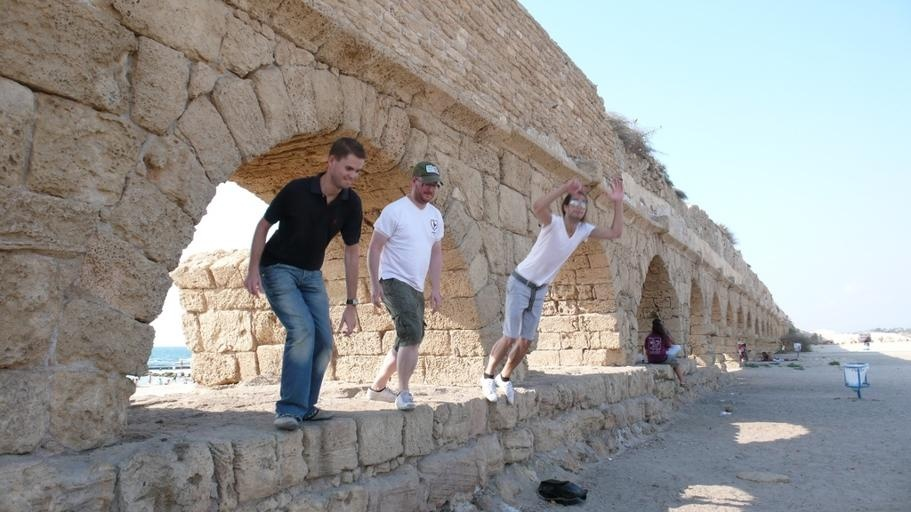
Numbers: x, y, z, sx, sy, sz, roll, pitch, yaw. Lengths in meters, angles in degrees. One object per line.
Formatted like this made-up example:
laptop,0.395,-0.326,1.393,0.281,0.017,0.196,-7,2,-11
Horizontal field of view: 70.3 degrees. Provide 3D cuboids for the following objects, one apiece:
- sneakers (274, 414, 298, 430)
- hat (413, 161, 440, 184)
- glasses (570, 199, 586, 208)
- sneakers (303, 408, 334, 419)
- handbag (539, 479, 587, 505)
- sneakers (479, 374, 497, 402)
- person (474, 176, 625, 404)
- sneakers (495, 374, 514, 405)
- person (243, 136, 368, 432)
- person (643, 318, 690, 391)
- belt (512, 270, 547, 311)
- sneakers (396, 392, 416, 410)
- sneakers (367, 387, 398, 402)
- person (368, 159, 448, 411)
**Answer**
sneakers,-1.286,1.269,4.941,0.174,0.089,0.067,4,6,10
hat,-0.246,-0.748,5.744,0.228,0.122,0.165,20,10,33
glasses,1.210,-0.529,6.395,0.159,0.088,0.085,-1,-13,-8
sneakers,-1.115,1.272,5.272,0.249,0.095,0.081,-2,12,-20
handbag,1.007,2.264,6.228,0.289,0.097,0.226,3,1,38
sneakers,0.335,1.323,6.469,0.150,0.265,0.119,-3,-13,1
person,0.888,0.361,6.590,1.585,2.185,1.083,-15,-18,42
sneakers,0.540,1.358,6.676,0.140,0.337,0.126,-27,-3,17
person,-1.199,0.211,5.147,0.902,2.244,0.708,1,-14,-13
person,3.703,1.736,11.772,0.657,1.109,0.603,5,-12,-37
belt,0.746,0.375,6.658,0.354,0.249,0.336,7,0,-18
sneakers,-0.442,1.260,5.647,0.163,0.161,0.109,-1,-13,-6
sneakers,-0.684,1.289,6.038,0.322,0.123,0.114,0,-1,-4
person,-0.432,0.260,5.711,0.652,2.137,0.574,-2,-14,-2
